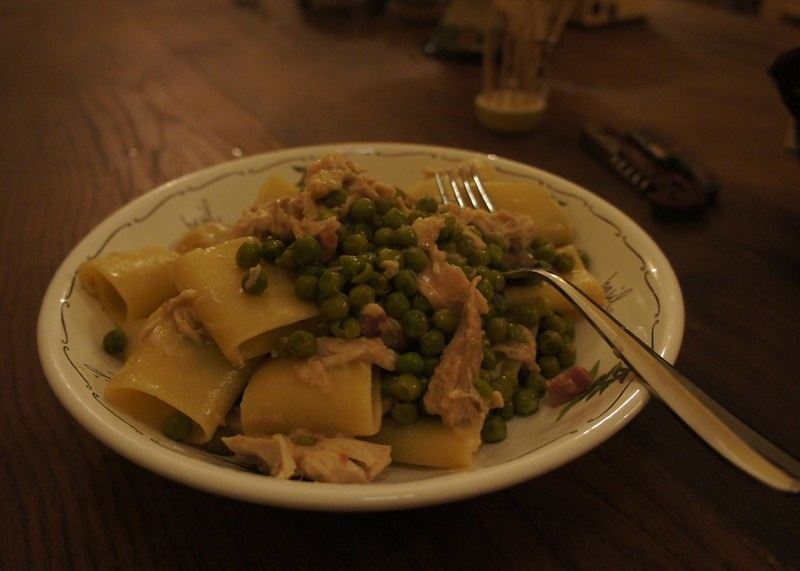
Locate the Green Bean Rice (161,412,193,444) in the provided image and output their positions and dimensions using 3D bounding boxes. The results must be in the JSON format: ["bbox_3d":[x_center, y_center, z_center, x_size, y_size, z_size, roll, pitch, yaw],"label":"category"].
[{"bbox_3d":[-0.868,0.554,2.784,0.097,0.032,0.113,-17,76,-41],"label":"Green Bean Rice"}]

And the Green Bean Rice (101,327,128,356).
[{"bbox_3d":[-1.202,0.245,3.007,0.082,0.086,0.109,13,100,-6],"label":"Green Bean Rice"}]
